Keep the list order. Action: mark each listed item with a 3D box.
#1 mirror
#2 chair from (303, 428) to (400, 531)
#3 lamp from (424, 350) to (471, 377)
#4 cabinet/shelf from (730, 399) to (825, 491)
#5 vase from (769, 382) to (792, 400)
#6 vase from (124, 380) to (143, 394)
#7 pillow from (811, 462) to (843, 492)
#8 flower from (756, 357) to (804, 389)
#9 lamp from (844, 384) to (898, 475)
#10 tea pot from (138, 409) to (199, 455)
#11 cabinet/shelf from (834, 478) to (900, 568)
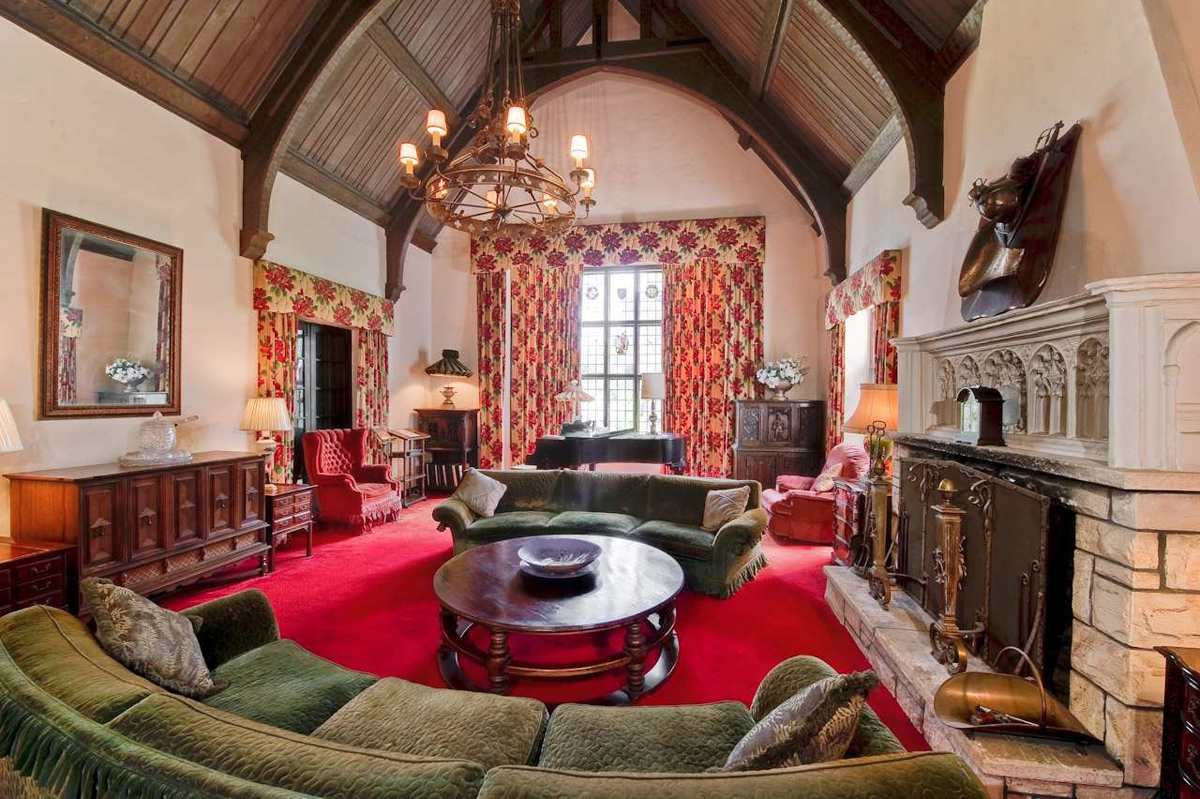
[{"bbox_3d":[-3.869,-0.621,6.014,0.145,1.394,1.013,-1,0,28],"label":"mirror"},{"bbox_3d":[-2.678,0.833,8.145,0.949,1.121,1.015,-1,-3,16],"label":"chair"},{"bbox_3d":[-2.002,-0.432,9.967,0.430,0.237,0.435,3,-1,3],"label":"lamp"},{"bbox_3d":[2.139,0.532,8.865,1.055,1.174,0.414,0,1,2],"label":"cabinet/shelf"},{"bbox_3d":[2.242,-0.078,9.218,0.222,0.188,0.217,2,-2,9],"label":"vase"},{"bbox_3d":[-3.806,-0.100,6.127,0.131,0.052,0.098,7,6,21],"label":"vase"},{"bbox_3d":[2.231,0.757,7.347,0.090,0.267,0.280,27,-7,-5],"label":"pillow"},{"bbox_3d":[2.204,-0.255,9.201,0.448,0.324,0.445,-4,-6,40],"label":"flower"},{"bbox_3d":[2.122,0.231,5.778,0.353,0.732,0.560,-1,0,1],"label":"lamp"},{"bbox_3d":[-3.521,0.295,6.138,0.245,0.292,0.412,-3,-5,37],"label":"tea pot"},{"bbox_3d":[2.129,0.982,5.943,0.282,0.758,0.803,3,-3,12],"label":"cabinet/shelf"}]
